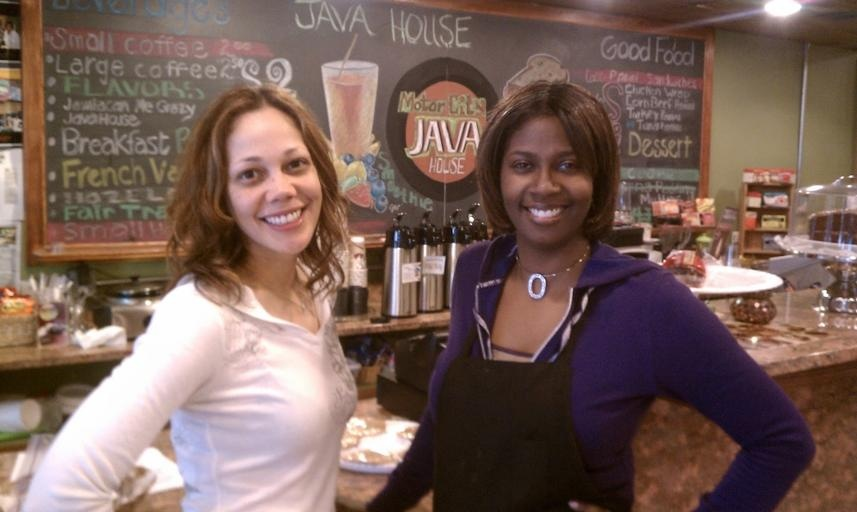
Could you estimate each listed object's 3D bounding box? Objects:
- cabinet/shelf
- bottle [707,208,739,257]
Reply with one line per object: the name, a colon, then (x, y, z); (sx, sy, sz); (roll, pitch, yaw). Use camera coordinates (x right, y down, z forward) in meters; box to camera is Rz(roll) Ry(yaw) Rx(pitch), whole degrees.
cabinet/shelf: (3.378, -0.279, 5.876); (0.519, 1.083, 0.295); (1, 5, 12)
bottle: (2.323, -0.194, 4.623); (0.136, 0.489, 0.139); (21, -31, 14)
